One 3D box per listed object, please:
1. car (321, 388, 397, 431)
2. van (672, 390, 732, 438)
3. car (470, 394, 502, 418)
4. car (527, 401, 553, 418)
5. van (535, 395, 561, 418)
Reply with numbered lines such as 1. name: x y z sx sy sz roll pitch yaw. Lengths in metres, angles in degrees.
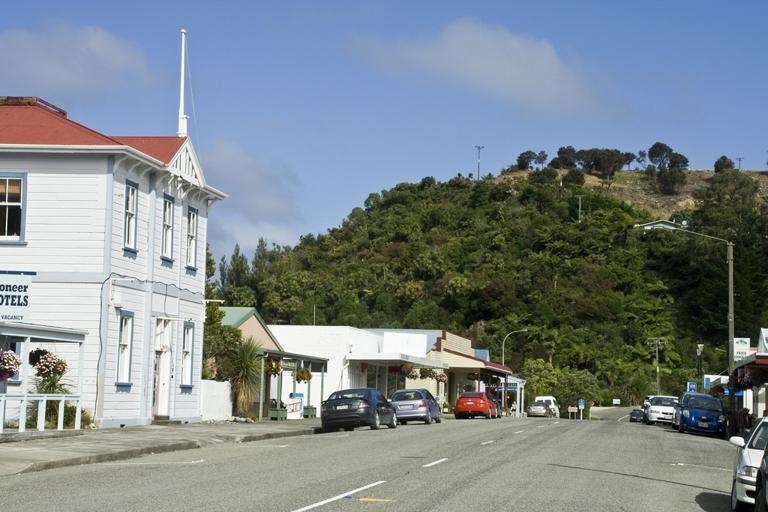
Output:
1. car: -0.799 7.052 44.611 2.433 2.060 5.597 -8 -16 31
2. van: 15.412 7.751 47.893 2.061 2.349 2.553 4 -13 -16
3. car: 5.989 9.269 60.424 1.418 1.557 3.181 -5 -14 20
4. car: 12.884 12.502 80.475 1.731 1.267 2.378 -7 -15 29
5. van: 13.647 12.733 81.649 1.668 1.763 2.990 0 -3 17
